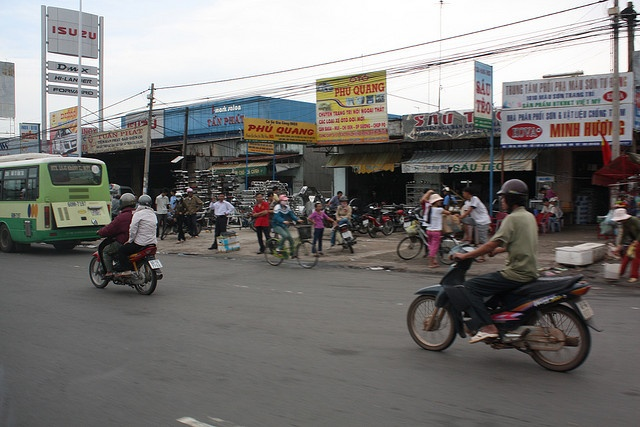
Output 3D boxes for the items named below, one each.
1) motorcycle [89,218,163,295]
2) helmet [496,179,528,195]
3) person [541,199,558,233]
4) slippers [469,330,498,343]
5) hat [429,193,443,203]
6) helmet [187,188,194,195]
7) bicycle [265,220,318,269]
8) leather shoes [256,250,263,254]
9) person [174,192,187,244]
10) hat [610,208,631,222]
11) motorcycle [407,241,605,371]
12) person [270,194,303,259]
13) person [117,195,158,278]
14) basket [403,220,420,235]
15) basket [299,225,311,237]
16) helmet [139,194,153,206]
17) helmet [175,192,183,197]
[{"bbox_3d":[-4.455,1.017,11.626,2.511,1.379,1.117,2,8,35],"label":"motorcycle"},{"bbox_3d":[2.675,-0.378,7.103,0.335,0.197,0.230,-2,3,11],"label":"helmet"},{"bbox_3d":[10.089,0.030,22.637,1.398,1.507,0.511,-6,10,-43],"label":"person"},{"bbox_3d":[2.213,1.704,6.989,0.421,0.141,0.140,-3,-3,14],"label":"slippers"},{"bbox_3d":[3.212,-0.424,14.472,0.374,0.270,0.268,3,7,25],"label":"hat"},{"bbox_3d":[-5.574,-0.997,22.074,0.393,0.314,0.476,-1,3,-12],"label":"helmet"},{"bbox_3d":[-0.846,0.920,15.036,2.187,1.152,0.936,-1,-12,43],"label":"bicycle"},{"bbox_3d":[-2.081,1.336,17.707,0.331,0.114,0.113,0,2,24],"label":"leather shoes"},{"bbox_3d":[-6.017,0.214,22.385,0.433,1.955,1.332,-2,7,-17],"label":"person"},{"bbox_3d":[6.821,0.020,11.600,0.409,0.167,0.368,-4,2,13],"label":"hat"},{"bbox_3d":[2.424,1.316,7.343,1.120,1.504,2.804,4,-5,-42],"label":"motorcycle"},{"bbox_3d":[-1.005,0.344,15.093,0.779,1.773,1.031,0,7,-2],"label":"person"},{"bbox_3d":[-3.994,0.491,11.212,0.843,1.777,0.504,-2,8,-17],"label":"person"},{"bbox_3d":[2.942,0.444,16.096,0.510,0.451,0.389,15,-15,-17],"label":"basket"},{"bbox_3d":[-0.501,0.530,14.991,0.436,0.267,0.352,-5,4,-36],"label":"basket"},{"bbox_3d":[-3.831,-0.321,11.357,0.356,0.285,0.249,-4,16,-28],"label":"helmet"},{"bbox_3d":[-6.361,-0.904,23.274,0.369,0.198,0.465,0,-1,-19],"label":"helmet"}]
